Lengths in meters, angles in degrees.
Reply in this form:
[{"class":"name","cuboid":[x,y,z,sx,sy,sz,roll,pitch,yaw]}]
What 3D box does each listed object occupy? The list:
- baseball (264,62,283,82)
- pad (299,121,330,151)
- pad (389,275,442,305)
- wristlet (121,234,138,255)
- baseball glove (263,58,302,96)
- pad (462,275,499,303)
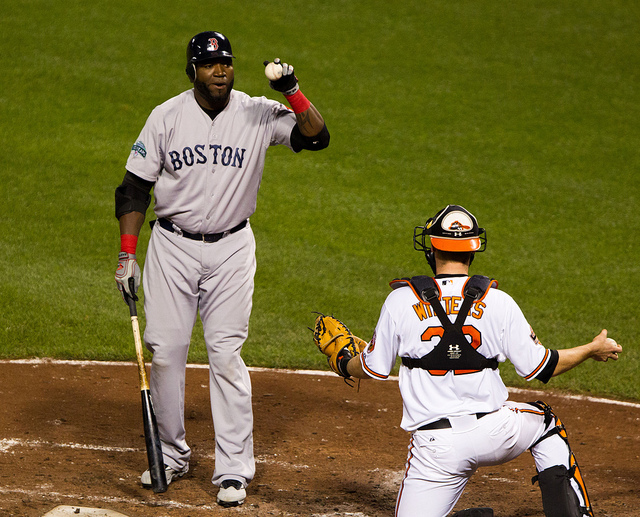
[{"class":"baseball","cuboid":[-0.448,-1.747,12.532,0.186,0.190,0.119,10,17,12]},{"class":"pad","cuboid":[-0.042,-1.162,12.849,0.196,0.260,0.286,20,21,36]},{"class":"pad","cuboid":[0.837,0.257,12.013,0.375,0.112,0.258,10,1,12]},{"class":"wristlet","cuboid":[-1.837,-0.146,12.937,0.174,0.253,0.190,9,-4,-8]},{"class":"baseball glove","cuboid":[-0.421,-1.735,12.647,0.369,0.141,0.392,-9,-10,10]},{"class":"pad","cuboid":[1.424,0.224,11.927,0.266,0.238,0.256,12,46,21]}]
